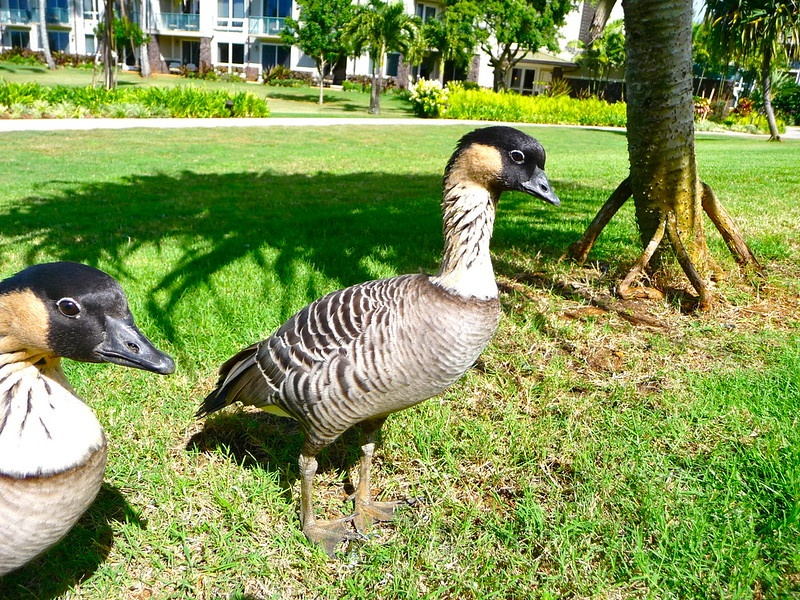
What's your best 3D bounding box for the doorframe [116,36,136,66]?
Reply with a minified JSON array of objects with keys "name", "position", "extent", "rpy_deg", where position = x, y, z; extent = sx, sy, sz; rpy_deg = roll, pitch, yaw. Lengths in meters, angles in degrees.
[{"name":"doorframe","position":[-18.666,-16.763,44.847],"extent":[1.085,1.954,9.653],"rpy_deg":[-2,21,-22]}]
